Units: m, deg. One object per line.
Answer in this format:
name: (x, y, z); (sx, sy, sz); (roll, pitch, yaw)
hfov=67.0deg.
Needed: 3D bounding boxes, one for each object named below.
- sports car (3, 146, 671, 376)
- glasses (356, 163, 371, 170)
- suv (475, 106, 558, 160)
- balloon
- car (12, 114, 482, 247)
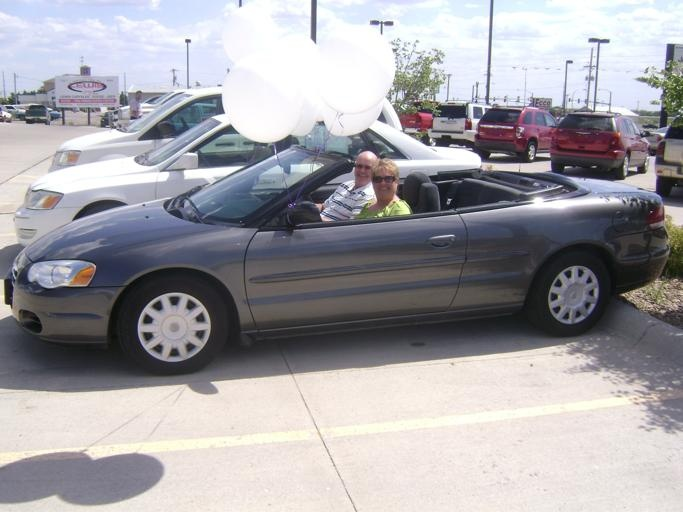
sports car: (-0.011, -0.013, 5.034); (6.139, 1.290, 2.226); (-1, 9, -11)
glasses: (0.210, -0.878, 5.111); (0.102, 0.029, 0.076); (6, 0, -34)
suv: (6.377, -4.880, 20.508); (4.359, 1.576, 2.399); (-14, 20, -33)
balloon: (-0.192, -1.425, 4.313); (0.729, 0.953, 1.361); (13, 16, 41)
car: (-1.068, -1.021, 7.247); (6.175, 1.344, 2.175); (1, 10, -7)
